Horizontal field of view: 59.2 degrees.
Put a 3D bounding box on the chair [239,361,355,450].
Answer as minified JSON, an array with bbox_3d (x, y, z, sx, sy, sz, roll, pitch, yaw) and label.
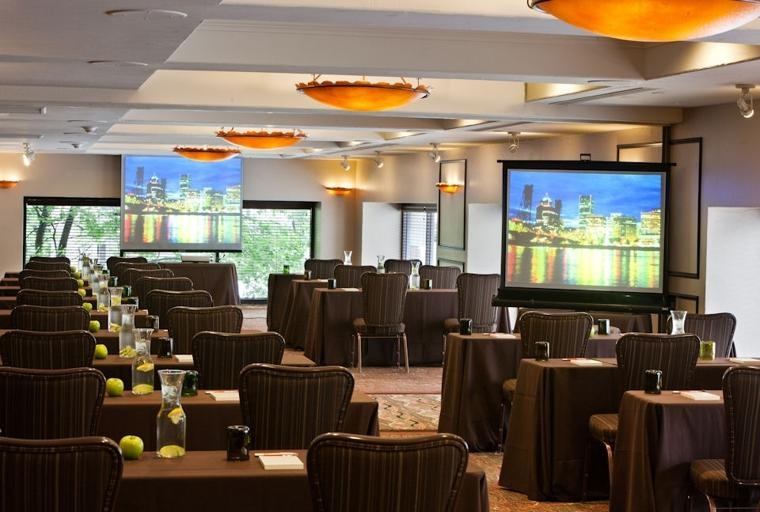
[{"bbox_3d":[-0.436,0.823,3.826,0.510,0.630,0.528,2,5,-7],"label":"chair"}]

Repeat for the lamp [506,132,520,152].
[{"bbox_3d":[2.308,-1.929,11.371,0.238,0.288,0.754,0,4,3],"label":"lamp"}]

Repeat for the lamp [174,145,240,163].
[{"bbox_3d":[-2.991,-1.818,11.666,1.078,0.194,0.587,1,-2,-10],"label":"lamp"}]

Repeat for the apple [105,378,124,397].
[{"bbox_3d":[-1.652,0.828,4.216,0.110,0.103,0.109,-6,-5,35],"label":"apple"}]

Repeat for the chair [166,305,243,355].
[{"bbox_3d":[-1.475,0.583,5.639,0.490,0.580,0.482,1,3,-9],"label":"chair"}]

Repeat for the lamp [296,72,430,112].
[{"bbox_3d":[-0.176,-1.548,6.385,0.809,0.196,0.781,0,-3,10],"label":"lamp"}]

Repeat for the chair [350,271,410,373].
[{"bbox_3d":[0.019,0.935,9.448,0.791,1.387,0.994,1,-1,-2],"label":"chair"}]

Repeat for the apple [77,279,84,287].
[{"bbox_3d":[-4.556,0.416,10.186,0.093,0.079,0.087,11,22,-17],"label":"apple"}]

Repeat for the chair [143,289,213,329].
[{"bbox_3d":[-2.103,0.626,6.963,0.551,0.661,0.550,0,5,-7],"label":"chair"}]

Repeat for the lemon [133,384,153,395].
[{"bbox_3d":[-1.506,0.850,4.255,0.081,0.031,0.077,0,2,-13],"label":"lemon"}]

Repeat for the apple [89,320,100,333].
[{"bbox_3d":[-2.608,0.641,6.171,0.125,0.119,0.123,-3,1,-10],"label":"apple"}]

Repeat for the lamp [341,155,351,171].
[{"bbox_3d":[-0.886,-2.401,17.157,0.328,0.444,0.278,-4,-43,-1],"label":"lamp"}]

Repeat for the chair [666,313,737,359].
[{"bbox_3d":[3.062,0.761,6.368,0.479,0.716,0.560,0,3,4],"label":"chair"}]

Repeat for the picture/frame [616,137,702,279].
[{"bbox_3d":[3.925,-0.670,9.160,0.228,1.947,1.187,1,-1,-15],"label":"picture/frame"}]

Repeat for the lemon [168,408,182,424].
[{"bbox_3d":[-0.979,0.768,3.245,0.040,0.082,0.087,1,-2,25],"label":"lemon"}]

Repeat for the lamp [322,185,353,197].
[{"bbox_3d":[-1.100,-1.731,17.789,0.755,0.232,0.219,1,-1,-5],"label":"lamp"}]

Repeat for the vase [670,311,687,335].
[{"bbox_3d":[2.443,0.541,5.493,0.094,0.173,0.272,1,-2,21],"label":"vase"}]

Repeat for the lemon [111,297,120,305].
[{"bbox_3d":[-2.555,0.430,6.459,0.073,0.075,0.070,0,-7,9],"label":"lemon"}]

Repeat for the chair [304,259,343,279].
[{"bbox_3d":[-1.026,0.211,11.890,0.472,0.583,0.430,0,7,-20],"label":"chair"}]

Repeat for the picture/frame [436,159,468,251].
[{"bbox_3d":[1.473,-1.100,14.062,0.346,1.993,1.256,1,-1,-15],"label":"picture/frame"}]

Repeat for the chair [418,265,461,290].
[{"bbox_3d":[0.954,0.321,10.898,0.462,0.619,0.454,1,4,-7],"label":"chair"}]

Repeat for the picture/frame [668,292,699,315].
[{"bbox_3d":[4.007,0.608,8.908,0.216,0.255,0.522,1,-2,-14],"label":"picture/frame"}]

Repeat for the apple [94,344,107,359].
[{"bbox_3d":[-2.159,0.734,5.141,0.106,0.100,0.105,-5,5,-42],"label":"apple"}]

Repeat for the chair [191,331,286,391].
[{"bbox_3d":[-0.952,0.665,4.620,0.481,0.569,0.473,1,3,-9],"label":"chair"}]

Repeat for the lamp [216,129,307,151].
[{"bbox_3d":[-1.673,-1.749,9.726,1.023,0.335,0.912,1,-2,10],"label":"lamp"}]

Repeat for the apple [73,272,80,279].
[{"bbox_3d":[-5.108,0.337,11.312,0.109,0.120,0.104,-3,4,-4],"label":"apple"}]
